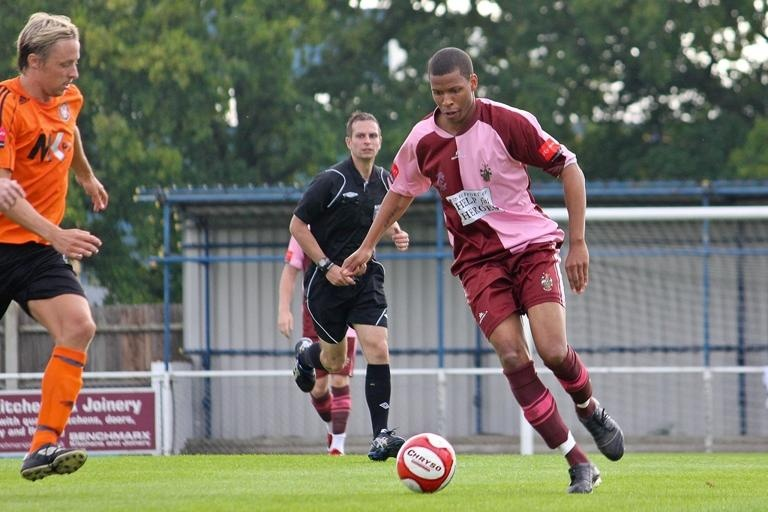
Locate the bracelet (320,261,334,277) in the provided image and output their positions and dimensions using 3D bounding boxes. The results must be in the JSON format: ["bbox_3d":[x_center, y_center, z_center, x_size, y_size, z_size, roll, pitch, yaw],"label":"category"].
[{"bbox_3d":[-0.841,0.183,27.868,0.172,0.118,0.183,31,-12,48],"label":"bracelet"}]

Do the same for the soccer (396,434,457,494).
[{"bbox_3d":[0.668,3.000,26.513,0.864,0.864,0.764,19,9,-6],"label":"soccer"}]
